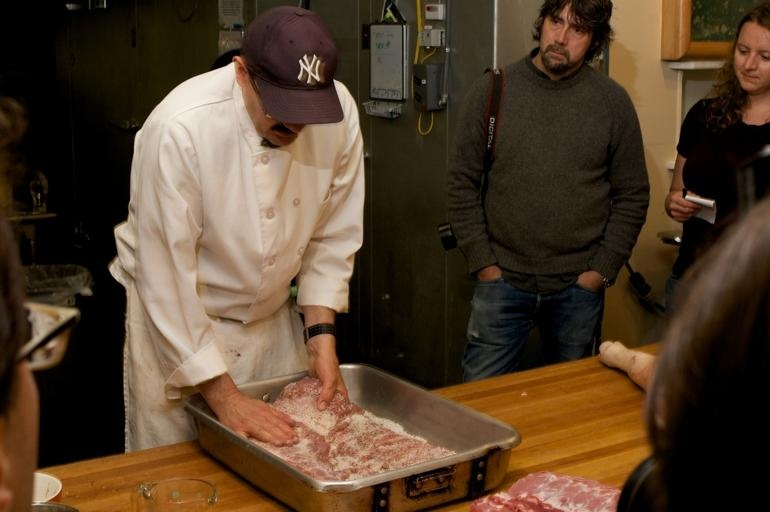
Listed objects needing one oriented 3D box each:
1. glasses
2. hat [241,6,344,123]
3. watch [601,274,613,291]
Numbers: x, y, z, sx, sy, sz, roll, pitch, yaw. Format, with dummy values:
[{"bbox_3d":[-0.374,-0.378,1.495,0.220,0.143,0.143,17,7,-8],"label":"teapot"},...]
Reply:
[{"bbox_3d":[-0.428,0.087,0.884,0.091,0.111,0.045,4,11,-37],"label":"glasses"},{"bbox_3d":[-0.279,-0.556,2.016,0.216,0.177,0.381,-7,58,-30],"label":"hat"},{"bbox_3d":[1.052,0.128,3.240,0.056,0.067,0.078,2,-8,-20],"label":"watch"}]
